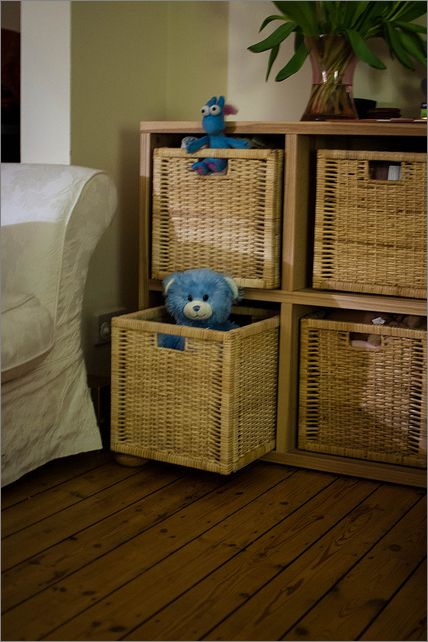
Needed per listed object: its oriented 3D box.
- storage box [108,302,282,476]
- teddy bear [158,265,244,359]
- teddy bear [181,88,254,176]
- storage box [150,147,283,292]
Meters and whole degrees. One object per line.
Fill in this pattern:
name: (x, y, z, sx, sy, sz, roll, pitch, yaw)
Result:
storage box: (-0.042, 0.121, 1.399, 0.382, 0.348, 0.390, 6, 8, 30)
teddy bear: (-0.029, -0.016, 1.302, 0.210, 0.200, 0.138, 0, 9, 10)
teddy bear: (0.001, -0.451, 1.331, 0.168, 0.185, 0.115, 1, 4, 1)
storage box: (0.019, -0.255, 1.330, 0.355, 0.332, 0.215, 6, 11, 25)
